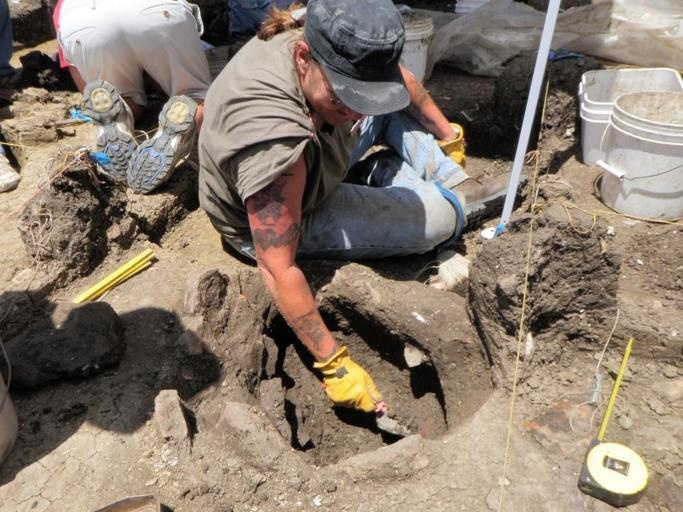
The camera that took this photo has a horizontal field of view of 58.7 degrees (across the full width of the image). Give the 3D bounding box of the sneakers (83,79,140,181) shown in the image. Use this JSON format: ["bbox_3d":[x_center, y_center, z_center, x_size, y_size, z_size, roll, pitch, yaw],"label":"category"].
[{"bbox_3d":[-1.334,-0.735,3.641,0.249,0.290,0.705,-16,82,-5],"label":"sneakers"}]

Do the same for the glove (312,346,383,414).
[{"bbox_3d":[0.038,0.638,3.061,0.229,0.142,0.397,-40,86,2],"label":"glove"}]

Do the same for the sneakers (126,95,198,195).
[{"bbox_3d":[-1.079,-0.646,3.644,0.244,0.297,0.685,35,88,11],"label":"sneakers"}]
